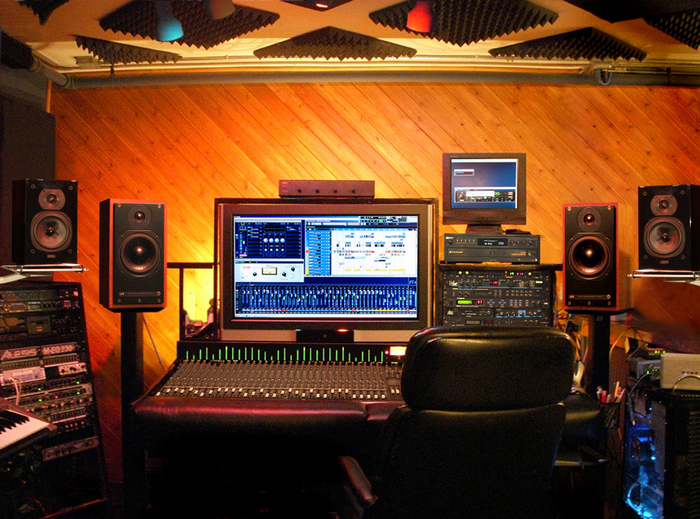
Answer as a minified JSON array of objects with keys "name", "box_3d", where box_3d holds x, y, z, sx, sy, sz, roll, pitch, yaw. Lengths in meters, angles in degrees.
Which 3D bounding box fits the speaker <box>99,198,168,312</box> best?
[{"name":"speaker","box_3d":[-1.197,-0.025,3.676,0.372,0.497,0.145,1,0,-5]}]

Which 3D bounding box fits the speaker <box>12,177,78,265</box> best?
[{"name":"speaker","box_3d":[-1.730,-0.217,3.800,0.352,0.374,0.155,1,0,-16]}]

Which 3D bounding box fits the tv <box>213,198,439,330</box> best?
[{"name":"tv","box_3d":[-0.140,0.097,3.894,1.359,0.800,0.700,1,-1,-3]}]

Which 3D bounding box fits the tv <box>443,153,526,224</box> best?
[{"name":"tv","box_3d":[0.739,-0.410,4.019,0.680,0.520,0.375,0,3,4]}]
